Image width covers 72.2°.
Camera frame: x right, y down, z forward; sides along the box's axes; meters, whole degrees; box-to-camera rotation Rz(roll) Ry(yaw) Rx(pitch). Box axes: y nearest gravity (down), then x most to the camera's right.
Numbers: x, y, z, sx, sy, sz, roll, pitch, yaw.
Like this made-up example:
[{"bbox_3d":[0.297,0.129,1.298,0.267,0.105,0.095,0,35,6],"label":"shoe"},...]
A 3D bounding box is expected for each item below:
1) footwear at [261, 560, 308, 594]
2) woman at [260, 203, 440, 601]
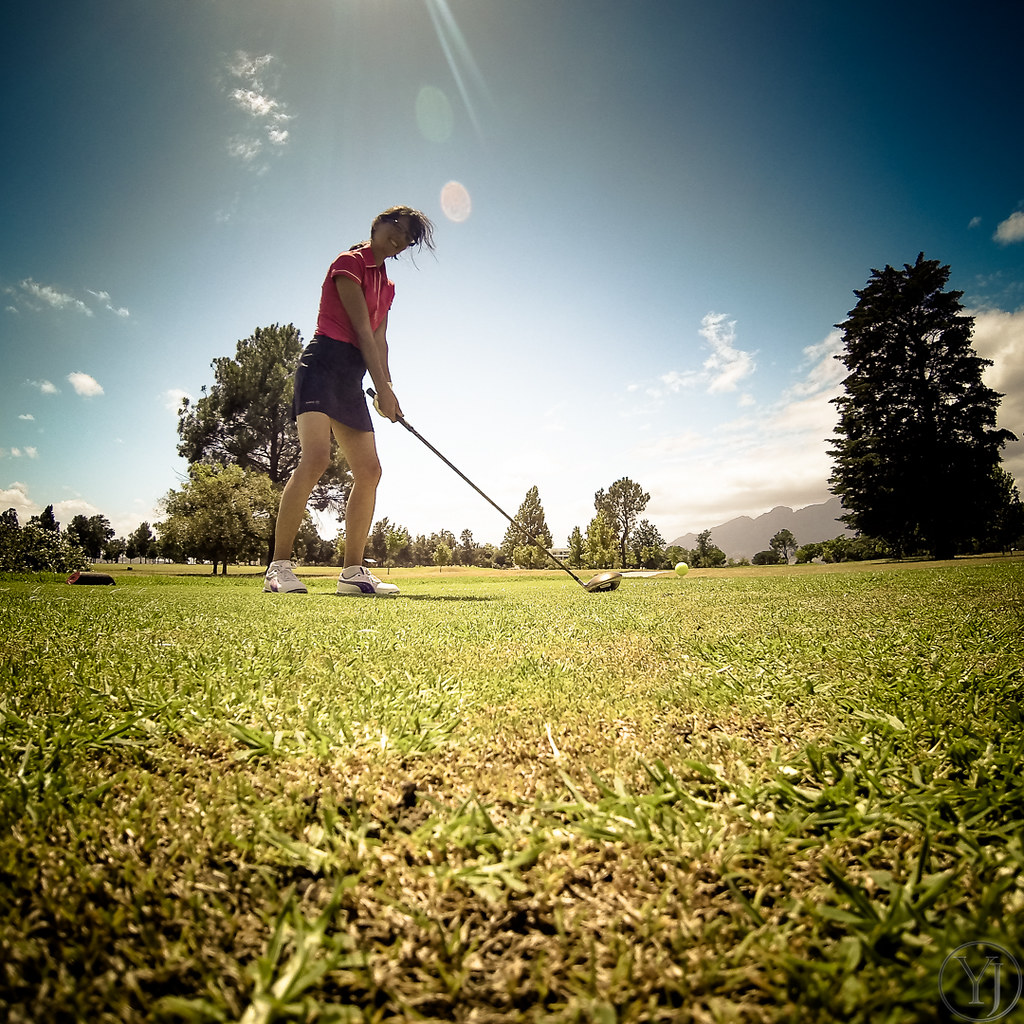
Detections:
[{"bbox_3d":[-1.598,0.473,4.995,0.164,0.217,0.482,3,-7,-37],"label":"footwear"},{"bbox_3d":[-1.211,-0.901,5.298,0.690,3.055,1.121,-4,-7,40],"label":"woman"}]
